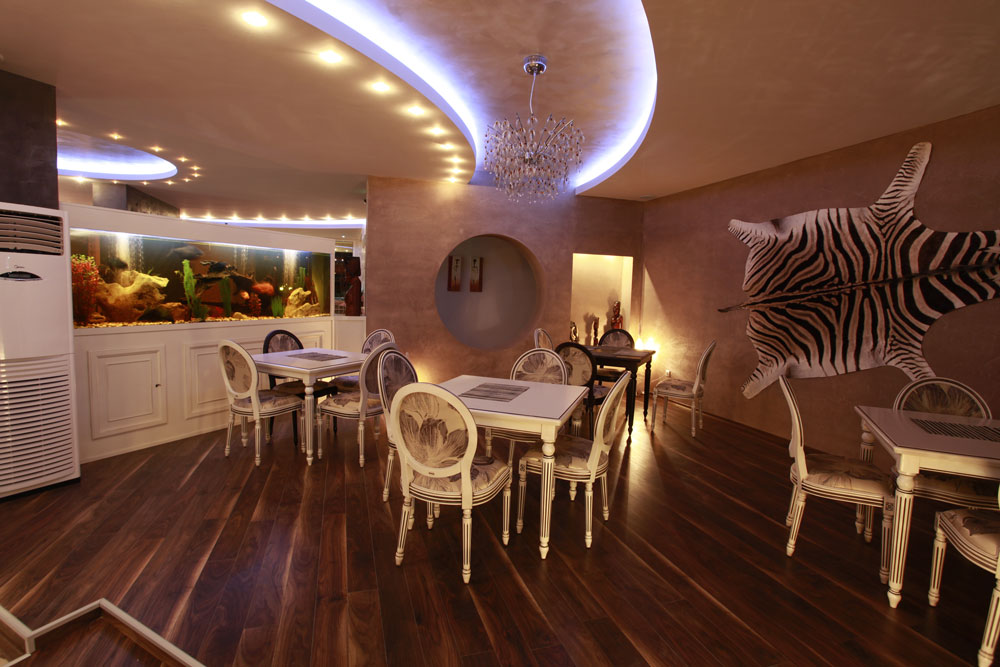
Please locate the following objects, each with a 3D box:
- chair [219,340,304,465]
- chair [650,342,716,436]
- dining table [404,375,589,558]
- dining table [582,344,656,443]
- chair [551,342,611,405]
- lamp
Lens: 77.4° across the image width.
[{"bbox_3d":[-2.333,0.612,6.099,0.689,1.115,1.019,1,5,-22],"label":"chair"},{"bbox_3d":[2.201,0.599,7.464,0.660,0.921,1.656,5,5,19],"label":"chair"},{"bbox_3d":[0.049,0.930,5.237,1.182,1.136,1.285,2,5,18],"label":"dining table"},{"bbox_3d":[1.326,0.703,7.319,0.868,0.979,1.004,3,5,32],"label":"dining table"},{"bbox_3d":[0.809,0.412,6.197,0.480,0.900,0.525,8,16,34],"label":"chair"},{"bbox_3d":[0.350,-2.144,6.442,0.925,1.310,0.903,15,-20,-41],"label":"lamp"}]
